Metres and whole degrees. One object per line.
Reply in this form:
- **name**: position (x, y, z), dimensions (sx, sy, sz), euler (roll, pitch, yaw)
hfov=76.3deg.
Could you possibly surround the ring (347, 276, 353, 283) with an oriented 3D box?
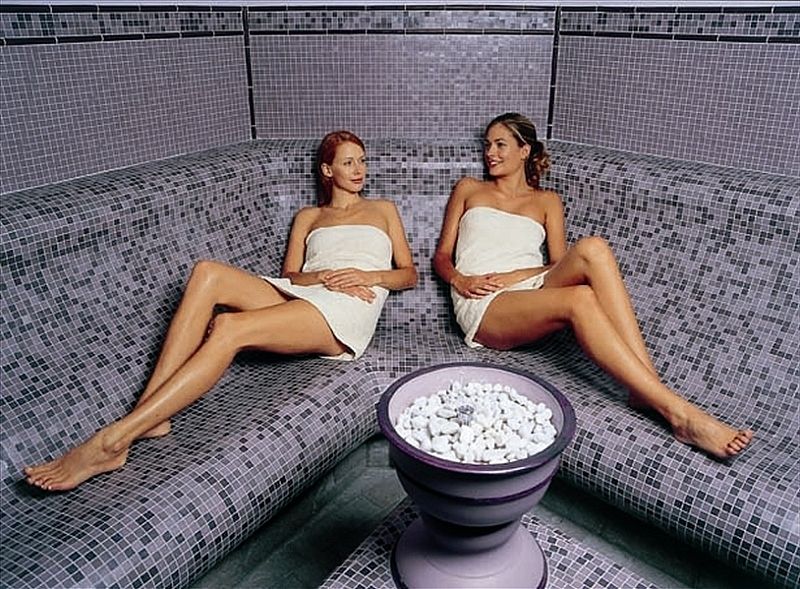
- **ring**: position (-0.191, -0.054, 1.905), dimensions (0.032, 0.022, 0.009), euler (-1, -10, -8)

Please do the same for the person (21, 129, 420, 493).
- **person**: position (-0.591, 0.014, 1.656), dimensions (0.514, 0.694, 1.361), euler (27, 43, 36)
